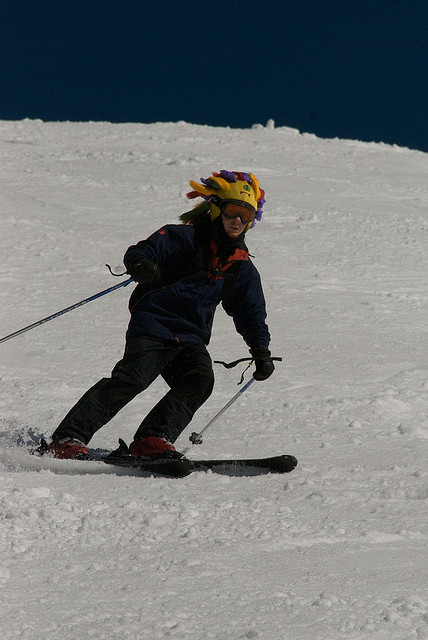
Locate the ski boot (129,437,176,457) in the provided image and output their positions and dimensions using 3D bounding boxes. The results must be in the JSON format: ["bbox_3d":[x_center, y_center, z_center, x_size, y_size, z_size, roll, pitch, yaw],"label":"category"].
[{"bbox_3d":[-0.372,0.733,5.012,0.189,0.062,0.127,-4,-5,-3],"label":"ski boot"}]

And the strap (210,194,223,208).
[{"bbox_3d":[0.023,-0.761,5.484,0.063,0.030,0.074,13,45,-22],"label":"strap"}]

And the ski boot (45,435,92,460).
[{"bbox_3d":[-0.847,0.732,5.021,0.222,0.135,0.207,-2,10,-35],"label":"ski boot"}]

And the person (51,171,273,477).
[{"bbox_3d":[-0.190,-0.058,5.287,0.642,1.763,1.413,12,11,35],"label":"person"}]

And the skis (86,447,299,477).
[{"bbox_3d":[-0.145,0.836,5.027,1.177,0.080,0.117,2,27,-4],"label":"skis"}]
